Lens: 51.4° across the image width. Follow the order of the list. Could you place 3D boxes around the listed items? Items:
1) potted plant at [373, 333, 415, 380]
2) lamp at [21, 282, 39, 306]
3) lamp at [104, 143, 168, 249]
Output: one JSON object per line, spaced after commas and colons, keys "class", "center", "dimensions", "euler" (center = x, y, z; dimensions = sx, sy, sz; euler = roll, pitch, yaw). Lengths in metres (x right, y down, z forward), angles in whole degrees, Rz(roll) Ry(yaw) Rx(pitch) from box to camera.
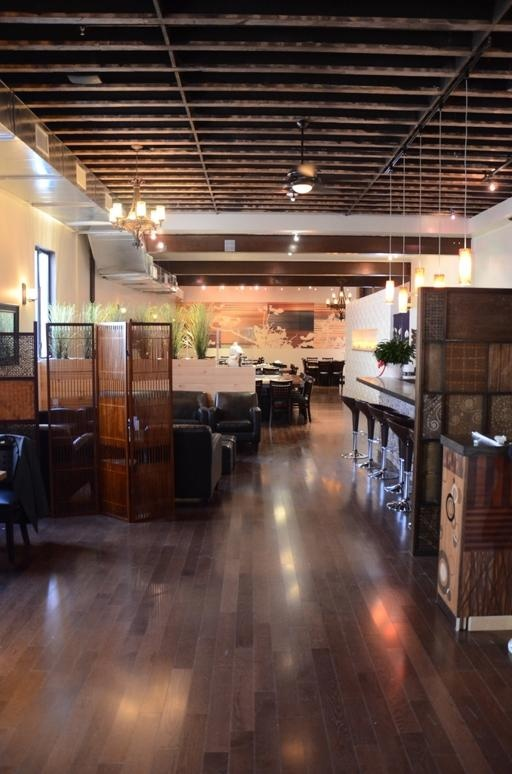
{"class": "potted plant", "center": [1.715, -0.371, 6.632], "dimensions": [0.522, 0.591, 0.523], "euler": [1, -2, -40]}
{"class": "lamp", "center": [-2.855, -1.144, 6.697], "dimensions": [0.126, 0.282, 0.385], "euler": [0, 1, -9]}
{"class": "lamp", "center": [-1.352, -2.151, 6.049], "dimensions": [0.488, 1.157, 0.564], "euler": [3, 7, 29]}
